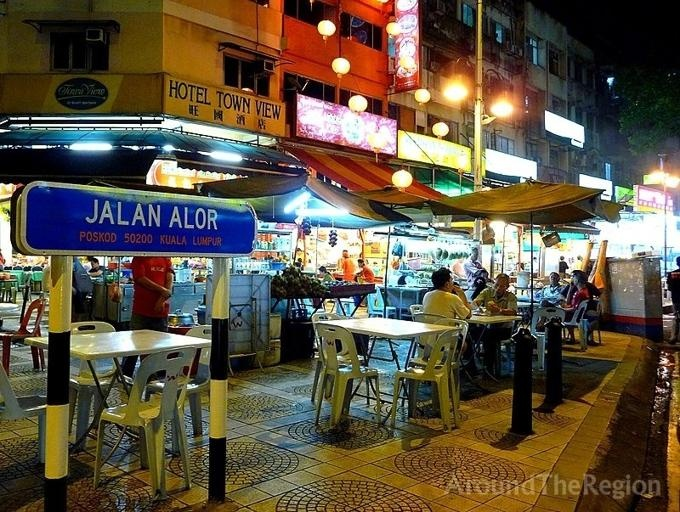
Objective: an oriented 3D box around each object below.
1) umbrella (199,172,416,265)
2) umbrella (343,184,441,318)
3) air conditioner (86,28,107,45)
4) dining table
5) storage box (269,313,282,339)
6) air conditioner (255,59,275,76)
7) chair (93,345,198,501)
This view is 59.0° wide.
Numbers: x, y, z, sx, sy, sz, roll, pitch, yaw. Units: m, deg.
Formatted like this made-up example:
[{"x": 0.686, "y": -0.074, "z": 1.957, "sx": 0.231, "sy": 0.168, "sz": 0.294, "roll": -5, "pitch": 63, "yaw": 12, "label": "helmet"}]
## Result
[{"x": -0.610, "y": -0.983, "z": 11.324, "sx": 3.135, "sy": 0.951, "sz": 4.357, "roll": 2, "pitch": 5, "yaw": 1, "label": "umbrella"}, {"x": 1.525, "y": -0.227, "z": 11.835, "sx": 2.164, "sy": 2.146, "sz": 2.265, "roll": 6, "pitch": 12, "yaw": 19, "label": "umbrella"}, {"x": -6.246, "y": -5.649, "z": 15.393, "sx": 0.415, "sy": 0.244, "sz": 0.397, "roll": 1, "pitch": -1, "yaw": -6, "label": "air conditioner"}, {"x": -2.337, "y": 1.468, "z": 6.506, "sx": 1.418, "sy": 1.233, "sz": 1.451, "roll": 1, "pitch": 0, "yaw": 43, "label": "dining table"}, {"x": -1.199, "y": 1.281, "z": 10.785, "sx": 0.118, "sy": 0.474, "sz": 0.283, "roll": 5, "pitch": 6, "yaw": 37, "label": "storage box"}, {"x": -2.238, "y": -5.600, "z": 17.794, "sx": 0.362, "sy": 0.432, "sz": 0.664, "roll": -2, "pitch": 0, "yaw": 26, "label": "air conditioner"}, {"x": -1.942, "y": 1.577, "z": 6.025, "sx": 0.907, "sy": 1.343, "sz": 1.044, "roll": 0, "pitch": 5, "yaw": -18, "label": "chair"}]
